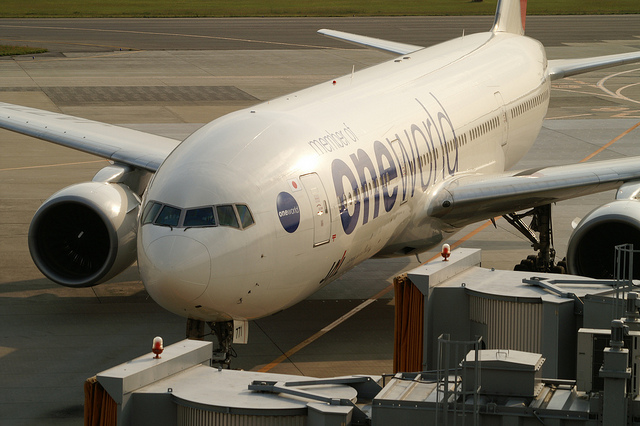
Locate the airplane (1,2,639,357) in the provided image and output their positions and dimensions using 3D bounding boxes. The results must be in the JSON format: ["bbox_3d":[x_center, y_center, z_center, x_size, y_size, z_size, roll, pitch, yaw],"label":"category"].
[{"bbox_3d":[1.598,-1.637,26.037,16.408,11.124,9.046,5,-7,-28],"label":"airplane"}]
